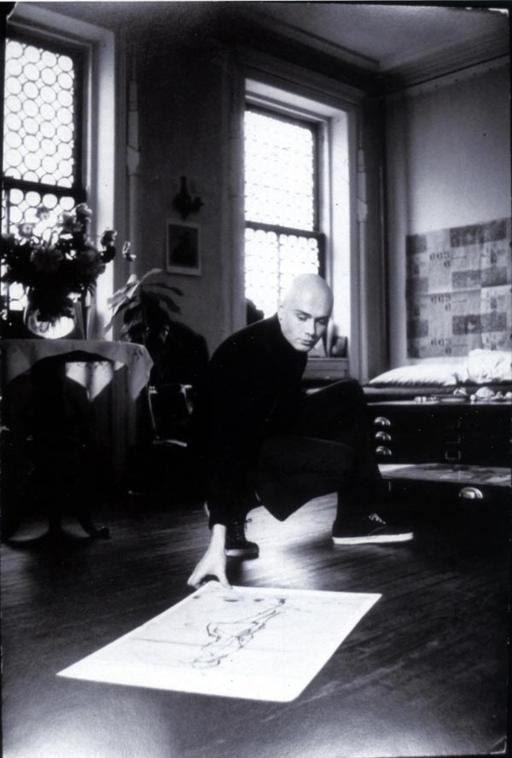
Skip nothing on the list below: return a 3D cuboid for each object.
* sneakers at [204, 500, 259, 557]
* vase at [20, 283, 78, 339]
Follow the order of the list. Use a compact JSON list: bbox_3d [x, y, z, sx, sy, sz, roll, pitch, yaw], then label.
[{"bbox_3d":[-0.030,0.276,1.456,0.124,0.111,0.052,-1,0,-2],"label":"sneakers"},{"bbox_3d":[-0.436,-0.139,1.741,0.077,0.113,0.039,-2,1,-8],"label":"vase"}]
